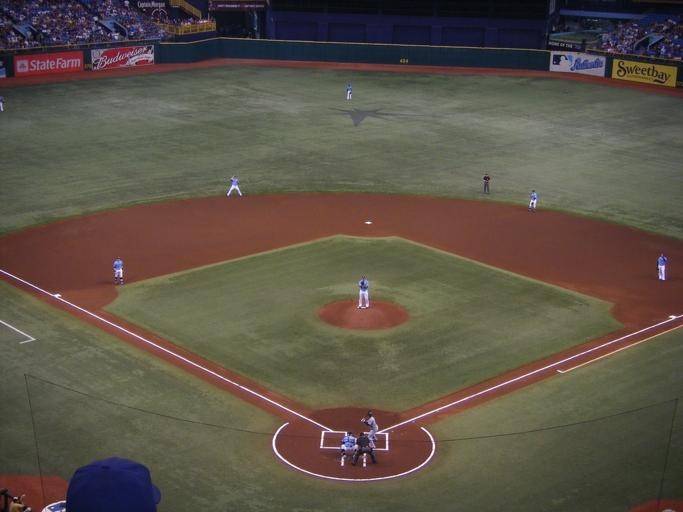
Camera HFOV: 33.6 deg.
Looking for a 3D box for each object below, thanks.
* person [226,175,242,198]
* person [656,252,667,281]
[{"bbox_3d":[-6.533,-4.678,73.831,1.207,1.494,0.423,2,59,-6],"label":"person"},{"bbox_3d":[17.824,0.497,64.889,0.596,1.322,2.212,4,13,15],"label":"person"}]
